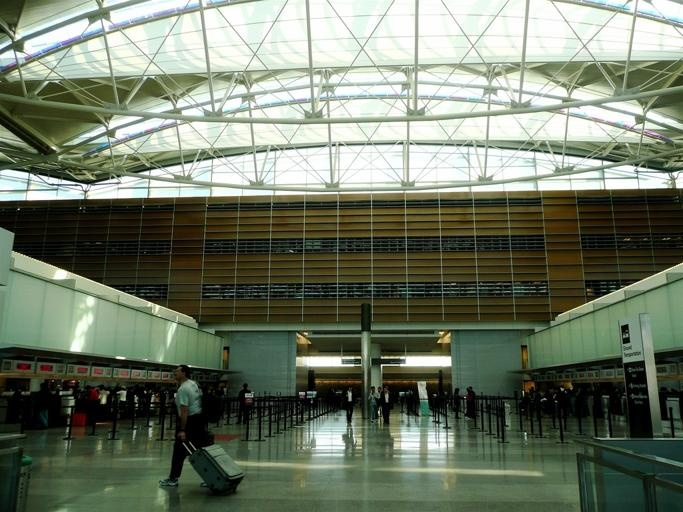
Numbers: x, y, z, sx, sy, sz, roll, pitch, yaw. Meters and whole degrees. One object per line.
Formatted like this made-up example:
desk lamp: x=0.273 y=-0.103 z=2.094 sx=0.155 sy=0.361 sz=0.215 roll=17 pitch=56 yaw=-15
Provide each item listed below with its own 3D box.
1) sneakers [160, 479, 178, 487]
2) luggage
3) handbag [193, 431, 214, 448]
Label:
sneakers: x=-4.053 y=5.382 z=13.269 sx=0.531 sy=0.157 sz=0.160 roll=2 pitch=-12 yaw=5
luggage: x=-2.766 y=4.853 z=12.712 sx=1.068 sy=1.035 sz=0.629 roll=11 pitch=-23 yaw=-38
handbag: x=-3.245 y=4.333 z=13.200 sx=0.254 sy=0.316 sz=0.465 roll=-46 pitch=-12 yaw=14
